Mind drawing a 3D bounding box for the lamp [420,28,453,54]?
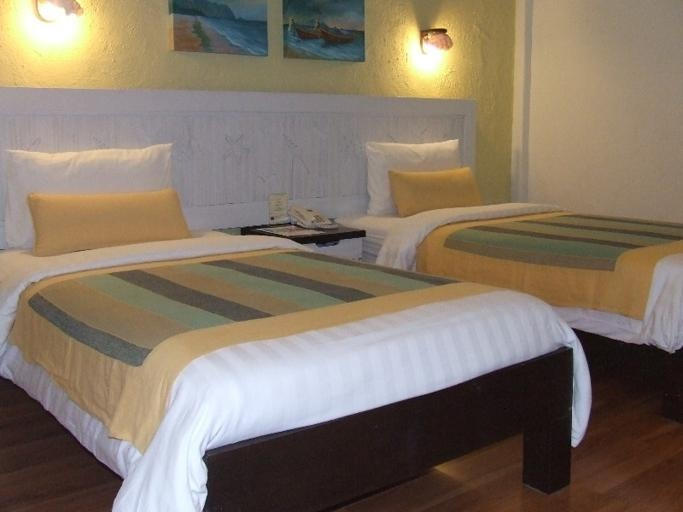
[{"bbox_3d":[0.827,-1.832,4.601,0.302,0.204,0.177,-14,20,-29],"label":"lamp"}]

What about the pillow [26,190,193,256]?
[{"bbox_3d":[-1.219,-0.212,2.971,0.831,0.289,0.245,-11,19,-43],"label":"pillow"}]

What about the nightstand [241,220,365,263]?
[{"bbox_3d":[-0.205,-0.141,3.630,0.413,0.259,0.407,-8,13,-37],"label":"nightstand"}]

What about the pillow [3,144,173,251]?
[{"bbox_3d":[-1.406,-0.303,2.945,0.586,0.362,0.147,-13,7,-31],"label":"pillow"}]

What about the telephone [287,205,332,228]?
[{"bbox_3d":[-0.215,-0.262,3.702,0.155,0.084,0.248,-8,13,-39],"label":"telephone"}]

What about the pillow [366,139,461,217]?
[{"bbox_3d":[0.573,-0.648,4.364,0.919,0.577,0.294,-4,-10,-28],"label":"pillow"}]

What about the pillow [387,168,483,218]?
[{"bbox_3d":[0.732,-0.493,4.145,0.741,0.361,0.181,-11,-3,-23],"label":"pillow"}]
